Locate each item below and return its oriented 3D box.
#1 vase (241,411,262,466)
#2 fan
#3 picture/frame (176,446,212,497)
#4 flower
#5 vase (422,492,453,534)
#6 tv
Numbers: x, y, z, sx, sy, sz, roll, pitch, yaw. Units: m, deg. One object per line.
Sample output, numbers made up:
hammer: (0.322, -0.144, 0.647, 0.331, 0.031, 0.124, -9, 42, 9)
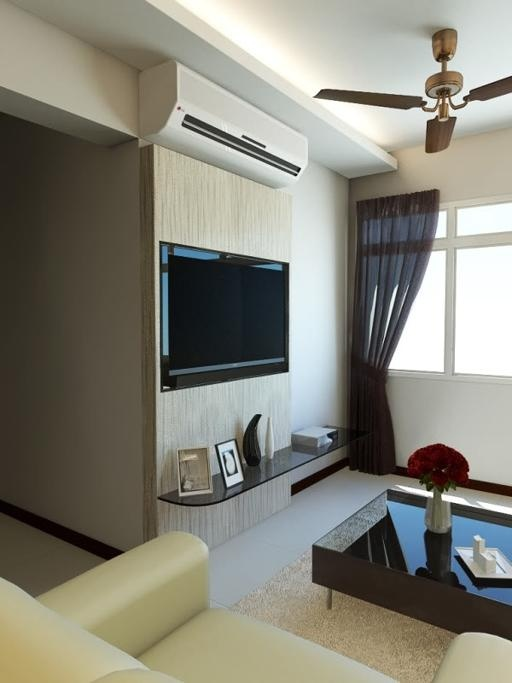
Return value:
vase: (-0.035, 0.624, 3.009, 0.107, 0.317, 0.130, 0, 0, -4)
fan: (0.774, -1.257, 2.302, 0.611, 0.341, 0.715, 5, -2, 13)
picture/frame: (-0.345, 0.710, 2.559, 0.173, 0.266, 0.015, 7, -21, -33)
flower: (0.861, 0.567, 2.267, 0.208, 0.302, 0.235, -1, 5, -3)
vase: (0.882, 0.807, 2.266, 0.091, 0.202, 0.104, -1, 2, 22)
tv: (-0.152, -0.157, 2.994, 0.034, 0.841, 1.270, -1, 0, 34)
